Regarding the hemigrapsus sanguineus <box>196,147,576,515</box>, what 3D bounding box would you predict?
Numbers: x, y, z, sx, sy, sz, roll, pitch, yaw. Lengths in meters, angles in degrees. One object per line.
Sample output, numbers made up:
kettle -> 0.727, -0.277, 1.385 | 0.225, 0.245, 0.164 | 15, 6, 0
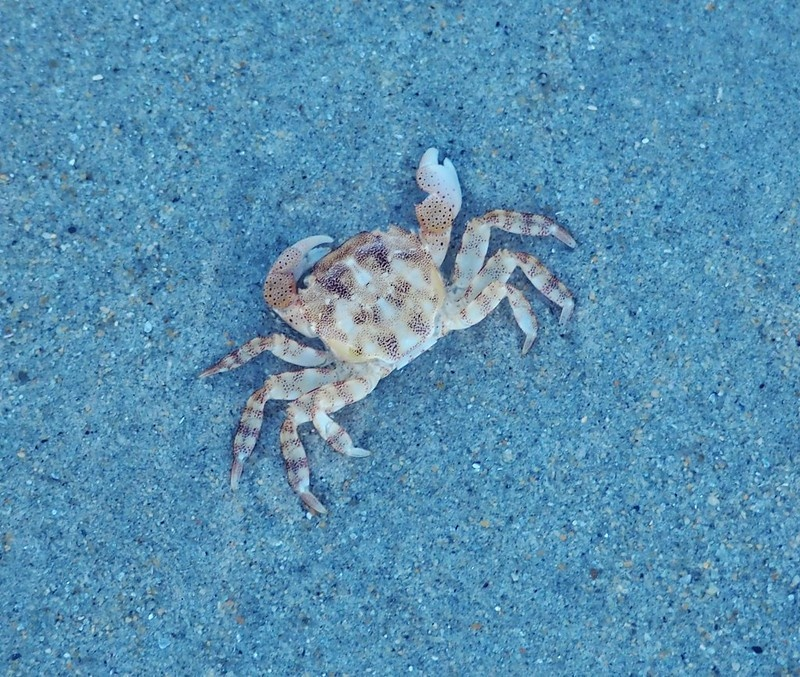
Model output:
hemigrapsus sanguineus -> -0.151, -0.181, 6.376 | 2.838, 0.759, 2.347 | -29, 77, 7
